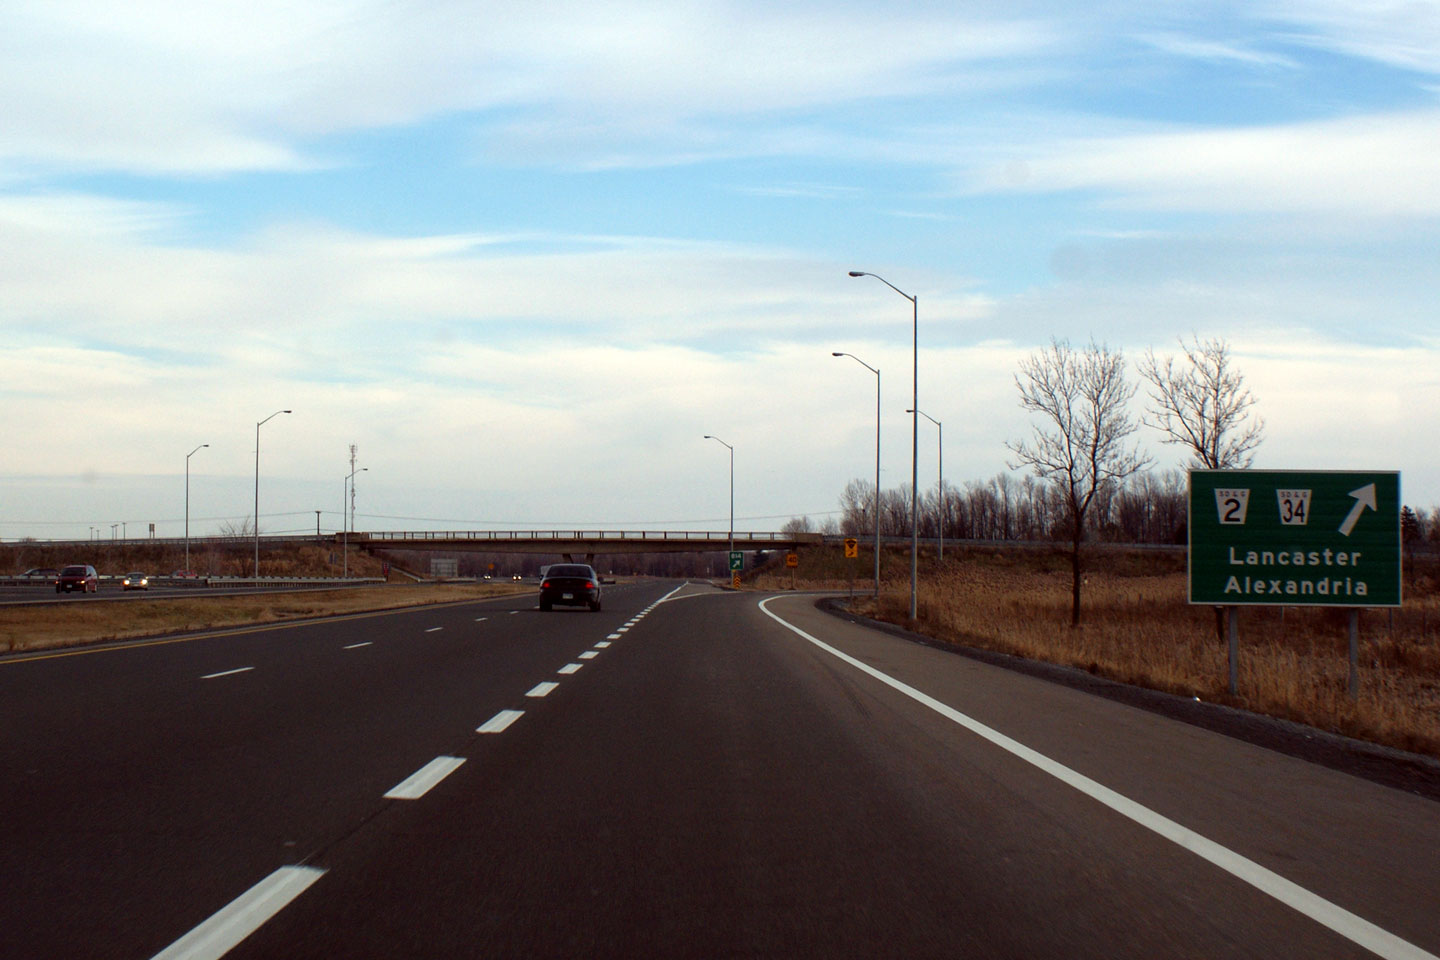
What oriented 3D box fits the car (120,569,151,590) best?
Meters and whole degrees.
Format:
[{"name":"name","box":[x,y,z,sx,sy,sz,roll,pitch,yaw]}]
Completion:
[{"name":"car","box":[-35.742,6.105,86.582,1.364,0.975,2.898,0,6,-13]}]

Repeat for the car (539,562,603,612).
[{"name":"car","box":[-4.811,3.515,45.592,1.845,1.402,2.595,1,0,-8]}]
